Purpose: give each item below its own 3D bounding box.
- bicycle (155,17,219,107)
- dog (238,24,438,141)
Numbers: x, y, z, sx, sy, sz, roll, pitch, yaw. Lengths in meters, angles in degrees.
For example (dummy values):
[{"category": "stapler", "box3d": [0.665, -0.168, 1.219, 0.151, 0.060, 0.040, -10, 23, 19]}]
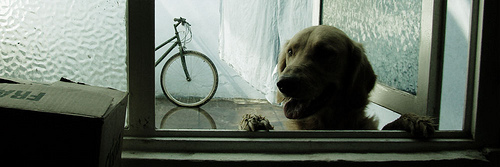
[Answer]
[{"category": "bicycle", "box3d": [-0.653, -0.158, 3.780, 0.544, 0.852, 1.092, -1, -10, 6]}, {"category": "dog", "box3d": [0.936, 0.035, 3.415, 1.868, 0.783, 1.331, -8, -32, 28]}]
